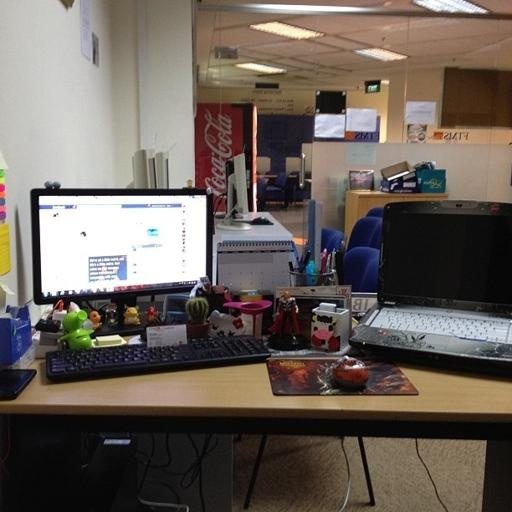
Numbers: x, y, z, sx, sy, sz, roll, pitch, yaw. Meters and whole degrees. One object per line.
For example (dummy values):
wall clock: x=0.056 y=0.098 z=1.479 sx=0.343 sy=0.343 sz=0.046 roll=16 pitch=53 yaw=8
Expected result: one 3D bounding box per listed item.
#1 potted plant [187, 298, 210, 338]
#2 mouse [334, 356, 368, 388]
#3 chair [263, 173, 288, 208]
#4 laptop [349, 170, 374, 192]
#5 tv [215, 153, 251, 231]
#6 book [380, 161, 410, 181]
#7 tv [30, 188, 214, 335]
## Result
potted plant: x=-0.166 y=0.183 z=1.436 sx=0.068 sy=0.131 sz=0.071 roll=6 pitch=-10 yaw=-34
mouse: x=0.218 y=0.270 z=1.184 sx=0.077 sy=0.078 sz=0.082 roll=2 pitch=2 yaw=23
chair: x=0.348 y=-1.446 z=11.021 sx=0.573 sy=0.938 sz=0.633 roll=2 pitch=9 yaw=-1
laptop: x=1.252 y=-0.897 z=6.065 sx=0.232 sy=0.205 sz=0.035 roll=0 pitch=-1 yaw=0
tv: x=-0.150 y=-0.385 z=2.881 sx=0.145 sy=0.451 sz=0.419 roll=0 pitch=4 yaw=-7
book: x=1.641 y=-1.014 z=5.971 sx=0.331 sy=0.227 sz=0.529 roll=0 pitch=9 yaw=4
tv: x=-0.401 y=0.008 z=1.474 sx=0.366 sy=0.329 sz=0.101 roll=-1 pitch=3 yaw=-24
